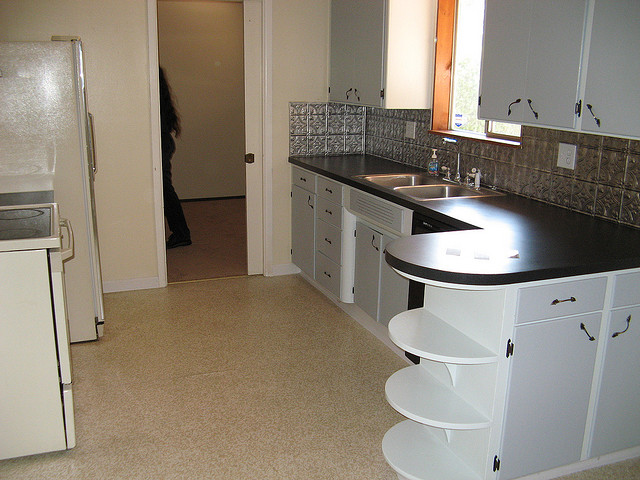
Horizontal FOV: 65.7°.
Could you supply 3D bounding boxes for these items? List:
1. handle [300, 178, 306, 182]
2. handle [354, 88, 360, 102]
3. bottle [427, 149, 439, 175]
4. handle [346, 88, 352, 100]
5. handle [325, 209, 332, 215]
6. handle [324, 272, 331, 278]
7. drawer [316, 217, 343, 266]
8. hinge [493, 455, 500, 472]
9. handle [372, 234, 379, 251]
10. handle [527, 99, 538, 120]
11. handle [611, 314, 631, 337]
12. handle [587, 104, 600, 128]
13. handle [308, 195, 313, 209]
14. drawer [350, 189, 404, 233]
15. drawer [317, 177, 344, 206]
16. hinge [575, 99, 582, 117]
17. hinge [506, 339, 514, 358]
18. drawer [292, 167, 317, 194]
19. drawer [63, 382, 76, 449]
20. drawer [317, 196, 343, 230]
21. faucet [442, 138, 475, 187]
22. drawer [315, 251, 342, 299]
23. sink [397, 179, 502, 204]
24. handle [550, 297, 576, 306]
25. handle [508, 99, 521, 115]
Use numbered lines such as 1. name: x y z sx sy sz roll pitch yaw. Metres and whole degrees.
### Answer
1. handle: -0.153 -0.538 4.414 0.024 0.020 0.062 -10 13 -9
2. handle: 0.315 -1.209 4.139 0.023 0.102 0.039 -5 28 32
3. bottle: 0.872 -0.608 3.834 0.085 0.179 0.227 1 15 11
4. handle: 0.248 -1.264 4.250 0.002 0.075 0.095 -9 17 -26
5. handle: 0.068 -0.226 3.994 0.028 0.028 0.049 -10 25 -39
6. handle: 0.061 0.286 4.119 0.028 0.038 0.114 2 11 -25
7. drawer: 0.085 0.002 3.993 0.195 0.251 0.341 0 18 -23
8. hinge: 0.787 1.000 2.220 0.033 0.080 0.005 -8 16 -22
9. handle: 0.384 0.017 3.452 0.005 0.101 0.090 -7 16 -19
10. handle: 1.127 -0.697 2.639 0.003 0.104 0.078 -7 16 -20
11. handle: 1.372 0.395 2.264 0.096 0.097 0.001 -7 15 -17
12. handle: 1.294 -0.588 2.348 0.040 0.114 0.031 -13 -19 -20
13. handle: -0.082 -0.332 4.288 0.078 0.115 0.023 -4 1 38
14. drawer: 0.375 -0.211 3.409 0.286 0.074 0.318 10 15 -43
15. drawer: 0.075 -0.390 3.955 0.197 0.178 0.362 -3 15 -18
16. hinge: 1.254 -0.644 2.416 0.007 0.077 0.032 -12 18 -34
17. hinge: 0.809 0.465 2.118 0.034 0.084 0.009 -8 16 -20
18. drawer: -0.107 -0.521 4.399 0.219 0.176 0.345 -1 15 -21
19. drawer: -1.258 0.878 2.505 0.035 0.333 0.067 -9 -19 1
20. drawer: 0.080 -0.226 3.970 0.230 0.150 0.301 3 15 -26
21. faucet: 0.955 -0.562 3.568 0.205 0.317 0.405 -4 15 -19
22. drawer: 0.072 0.273 4.096 0.211 0.237 0.354 -3 18 -22
23. sink: 0.854 -0.345 3.444 0.383 0.142 0.312 -6 23 -16
24. handle: 1.037 0.263 2.139 0.082 0.023 0.022 -12 6 -9
25. handle: 1.071 -0.741 2.756 0.011 0.080 0.078 -6 15 -16
